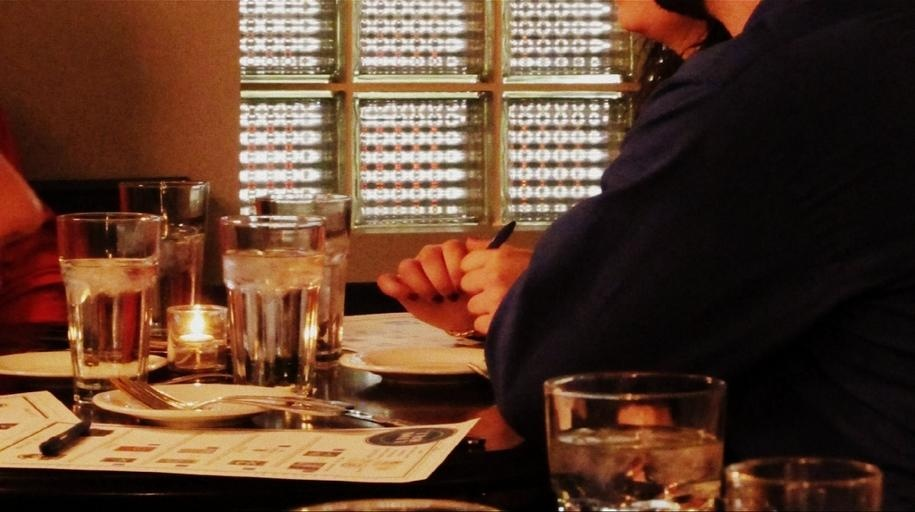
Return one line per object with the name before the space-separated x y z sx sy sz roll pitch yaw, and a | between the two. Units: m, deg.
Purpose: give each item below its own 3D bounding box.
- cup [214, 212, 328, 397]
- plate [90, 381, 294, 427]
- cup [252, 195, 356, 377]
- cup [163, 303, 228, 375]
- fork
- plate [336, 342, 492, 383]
cup | -0.264 0.072 1.216 0.142 0.249 0.065 0 2 -11
plate | -0.356 0.201 1.147 0.271 0.043 0.129 0 1 -2
cup | -0.226 0.046 1.450 0.231 0.273 0.195 1 -16 -1
cup | -0.423 0.136 1.389 0.115 0.097 0.100 -1 2 -18
fork | -0.311 0.194 1.164 0.334 0.036 0.053 1 -2 22
plate | -0.070 0.169 1.362 0.232 0.035 0.200 0 1 -6
